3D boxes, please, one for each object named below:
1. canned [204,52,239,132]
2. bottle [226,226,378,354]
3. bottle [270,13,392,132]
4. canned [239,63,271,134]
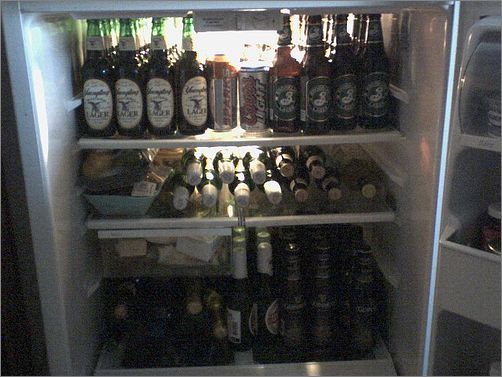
[{"bbox_3d":[-0.088,-0.299,1.389,0.089,0.234,0.044,-3,19,2],"label":"canned"},{"bbox_3d":[0.165,0.362,1.619,0.465,0.417,0.222,-1,20,-2],"label":"bottle"},{"bbox_3d":[0.254,-0.369,1.423,0.404,0.354,0.178,-3,19,0],"label":"bottle"},{"bbox_3d":[0.010,-0.289,1.384,0.110,0.263,0.115,7,29,14],"label":"canned"}]
